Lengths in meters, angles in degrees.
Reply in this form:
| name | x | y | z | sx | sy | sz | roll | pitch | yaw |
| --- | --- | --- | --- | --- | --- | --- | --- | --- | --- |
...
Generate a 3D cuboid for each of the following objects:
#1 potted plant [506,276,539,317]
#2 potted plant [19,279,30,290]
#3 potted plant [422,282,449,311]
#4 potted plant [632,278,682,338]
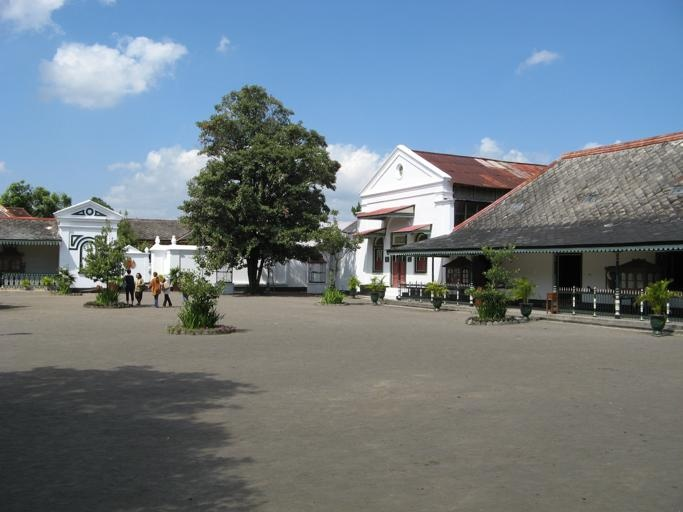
| name | x | y | z | sx | sy | sz | roll | pitch | yaw |
| --- | --- | --- | --- | --- | --- | --- | --- | --- | --- |
| potted plant | 7.663 | 1.688 | 26.050 | 1.427 | 1.821 | 1.345 | -1 | -8 | -4 |
| potted plant | -22.440 | 1.980 | 43.584 | 0.637 | 0.675 | 0.640 | -6 | -18 | 12 |
| potted plant | 4.402 | 1.853 | 29.000 | 1.220 | 1.399 | 1.158 | 1 | -6 | -6 |
| potted plant | 10.709 | 1.788 | 20.870 | 1.572 | 2.160 | 1.681 | 0 | -2 | 19 |
